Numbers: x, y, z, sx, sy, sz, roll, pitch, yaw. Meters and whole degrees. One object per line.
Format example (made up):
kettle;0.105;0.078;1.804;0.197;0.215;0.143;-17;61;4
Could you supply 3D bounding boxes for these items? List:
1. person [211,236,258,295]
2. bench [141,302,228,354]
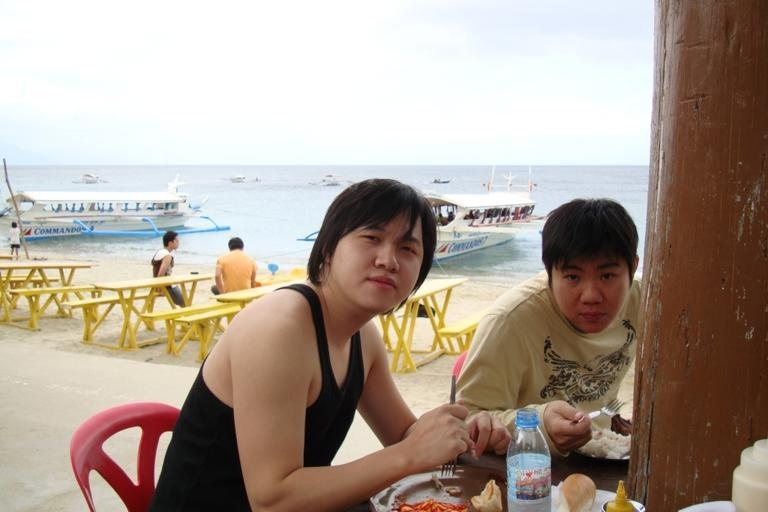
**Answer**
person;-2.912;0.269;10.379;0.851;1.190;1.012;4;2;42
bench;-3.198;1.151;8.528;0.498;0.338;1.170;2;3;23
